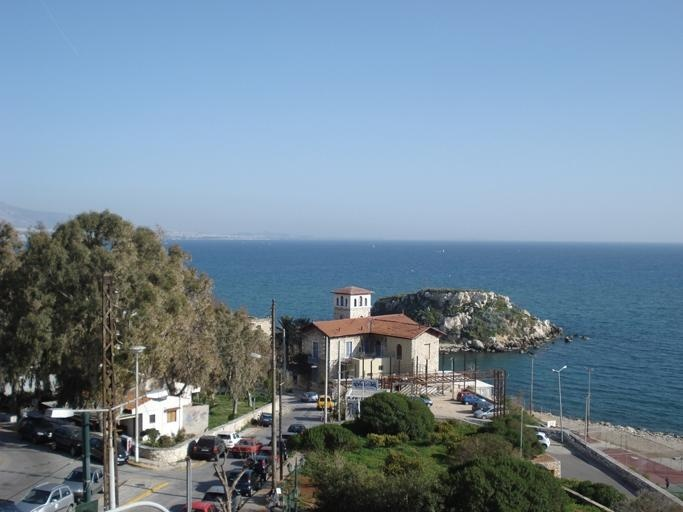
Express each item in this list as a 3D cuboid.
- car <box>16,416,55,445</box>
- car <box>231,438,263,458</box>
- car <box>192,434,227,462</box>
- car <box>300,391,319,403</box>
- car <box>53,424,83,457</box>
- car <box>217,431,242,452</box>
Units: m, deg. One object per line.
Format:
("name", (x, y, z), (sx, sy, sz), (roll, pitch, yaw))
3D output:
("car", (-22.087, 12.672, 49.537), (1.527, 1.360, 2.758), (3, -5, -44))
("car", (-7.040, 14.247, 51.004), (1.107, 0.790, 2.265), (1, 6, 6))
("car", (-9.918, 14.215, 50.384), (2.298, 1.802, 1.790), (13, 7, 3))
("car", (-3.549, 15.486, 74.800), (0.864, 0.817, 1.630), (1, 4, -12))
("car", (-19.120, 13.033, 48.342), (2.734, 1.507, 1.486), (-1, -1, 44))
("car", (-8.845, 14.322, 53.196), (1.234, 1.167, 2.164), (0, 0, 17))
